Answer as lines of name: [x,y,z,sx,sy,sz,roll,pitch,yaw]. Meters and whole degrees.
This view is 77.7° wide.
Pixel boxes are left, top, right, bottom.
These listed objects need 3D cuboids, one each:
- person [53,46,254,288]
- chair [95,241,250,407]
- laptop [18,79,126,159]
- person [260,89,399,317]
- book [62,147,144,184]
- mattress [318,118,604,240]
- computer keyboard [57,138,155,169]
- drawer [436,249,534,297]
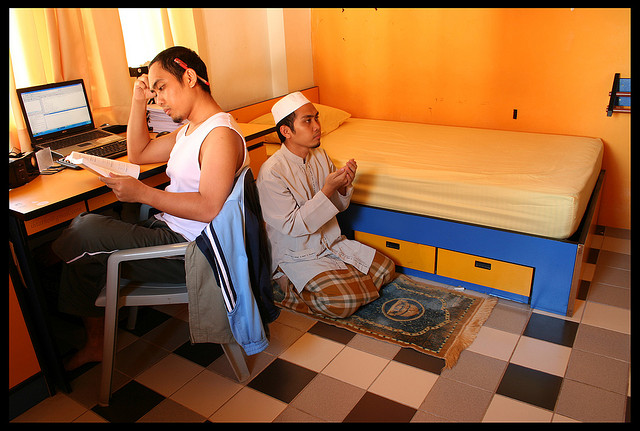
person: [-0.853,-0.292,2.220,0.970,1.180,0.934,-1,25,4]
chair: [-0.916,0.613,2.234,0.681,0.957,0.675,-23,32,-36]
laptop: [-1.577,-0.608,2.590,0.565,0.332,0.583,-17,42,-40]
person: [0.001,-0.062,2.690,0.840,1.422,0.662,10,29,26]
book: [-1.183,-0.260,2.169,0.431,0.132,0.300,8,19,-32]
mattress: [1.136,-0.385,3.360,1.970,0.422,1.438,13,28,30]
computer keyboard: [-1.413,-0.392,2.535,0.226,0.083,0.443,18,31,38]
drawer: [1.142,0.400,2.827,0.637,0.221,0.039,10,29,26]
